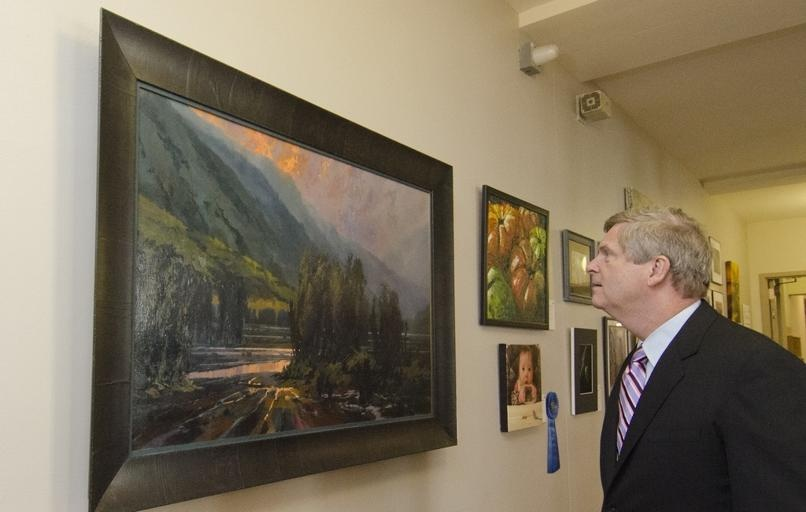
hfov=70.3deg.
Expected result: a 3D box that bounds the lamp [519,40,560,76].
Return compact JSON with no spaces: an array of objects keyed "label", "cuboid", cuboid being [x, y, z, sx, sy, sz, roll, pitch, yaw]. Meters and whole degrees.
[{"label":"lamp","cuboid":[1.158,-1.716,4.920,0.326,0.261,0.184,7,8,43]}]
